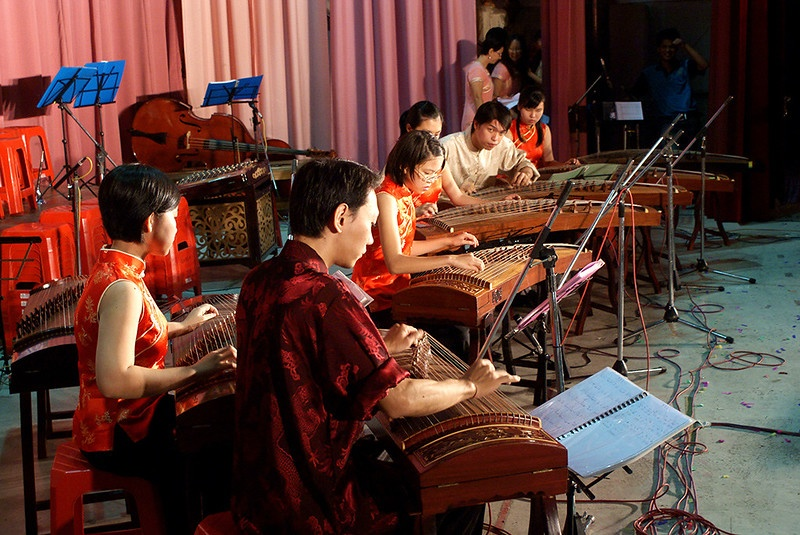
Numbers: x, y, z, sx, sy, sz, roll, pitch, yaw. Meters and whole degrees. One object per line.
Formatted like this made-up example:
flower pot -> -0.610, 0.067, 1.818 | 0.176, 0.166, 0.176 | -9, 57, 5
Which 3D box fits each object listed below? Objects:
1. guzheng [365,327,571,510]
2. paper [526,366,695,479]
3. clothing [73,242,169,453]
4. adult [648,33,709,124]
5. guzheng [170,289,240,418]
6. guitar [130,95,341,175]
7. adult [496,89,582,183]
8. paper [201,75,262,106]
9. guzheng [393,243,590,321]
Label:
guzheng -> 0.222, 0.418, 2.161 | 0.349, 0.196, 0.634 | -4, 12, -15
paper -> 0.738, 0.555, 2.432 | 0.428, 0.072, 0.442 | -25, 31, -22
clothing -> -1.012, 0.304, 2.466 | 0.366, 0.722, 0.288 | -8, 13, -27
adult -> 3.271, -2.268, 8.135 | 0.671, 1.074, 0.761 | 2, 12, 22
guzheng -> -0.717, 0.331, 2.523 | 0.159, 0.069, 0.480 | -5, 27, -5
guitar -> -1.613, -1.181, 6.370 | 2.044, 0.801, 0.406 | 4, 1, -10
adult -> 1.133, -1.095, 6.037 | 0.675, 0.881, 0.548 | -11, 29, -24
paper -> -1.657, -1.731, 6.645 | 0.743, 0.053, 0.457 | -2, 46, 14
guzheng -> 0.414, 0.008, 3.382 | 0.358, 0.226, 1.201 | 9, 20, 34
